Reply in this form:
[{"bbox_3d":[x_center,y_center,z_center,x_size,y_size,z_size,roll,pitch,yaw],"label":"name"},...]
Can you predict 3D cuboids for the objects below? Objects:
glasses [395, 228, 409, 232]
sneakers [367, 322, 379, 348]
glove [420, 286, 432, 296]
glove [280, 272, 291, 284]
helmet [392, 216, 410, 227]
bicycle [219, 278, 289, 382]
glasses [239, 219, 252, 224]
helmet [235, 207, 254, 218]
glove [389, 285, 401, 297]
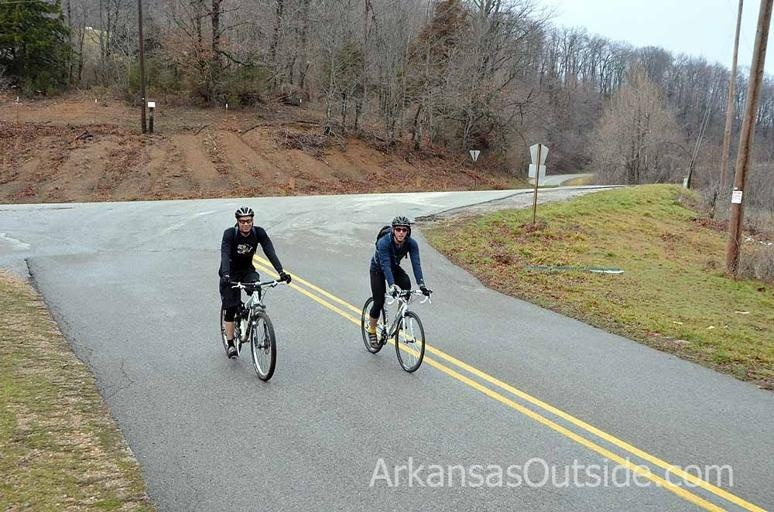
[{"bbox_3d":[0.331,-0.552,13.855,0.282,0.090,0.087,-1,12,-17],"label":"glasses"},{"bbox_3d":[-0.284,1.771,14.585,0.198,0.610,0.255,-4,4,0],"label":"sneakers"},{"bbox_3d":[0.825,0.755,13.807,0.220,0.228,0.237,5,12,16],"label":"glove"},{"bbox_3d":[-2.107,0.488,13.557,0.196,0.285,0.475,1,11,-5],"label":"glove"},{"bbox_3d":[0.294,-0.726,13.974,0.318,0.204,0.442,-1,12,-17],"label":"helmet"},{"bbox_3d":[-2.736,1.540,13.586,0.709,1.982,1.577,-6,14,-35],"label":"bicycle"},{"bbox_3d":[-2.907,-0.698,13.501,0.249,0.120,0.118,-6,14,-35],"label":"glasses"},{"bbox_3d":[-2.950,-0.887,13.569,0.344,0.236,0.414,-1,12,-18],"label":"helmet"},{"bbox_3d":[0.180,0.766,14.024,0.258,0.325,0.712,0,-2,-4],"label":"glove"}]
